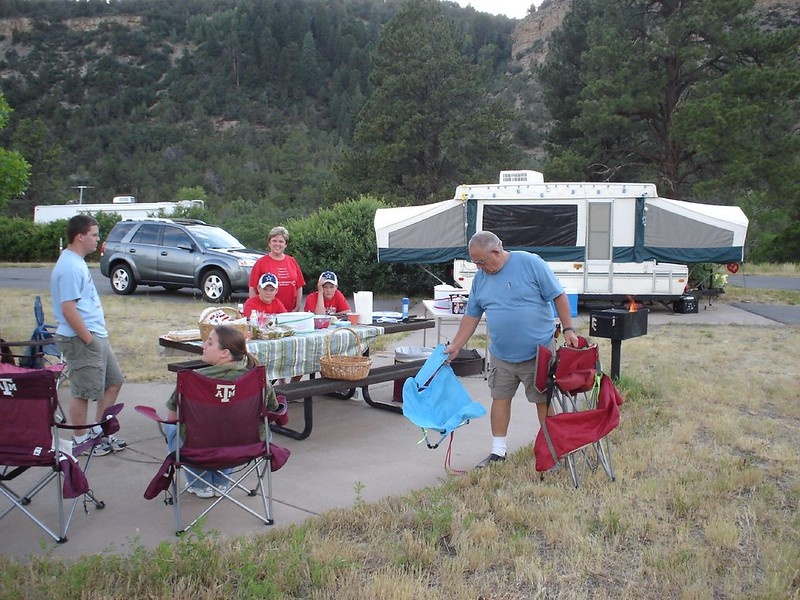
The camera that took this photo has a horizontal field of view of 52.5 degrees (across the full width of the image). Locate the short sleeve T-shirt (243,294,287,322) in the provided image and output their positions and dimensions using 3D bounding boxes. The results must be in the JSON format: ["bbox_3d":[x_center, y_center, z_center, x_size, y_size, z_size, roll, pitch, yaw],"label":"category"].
[{"bbox_3d":[-1.434,0.061,8.463,0.359,0.340,0.210,-2,0,-23],"label":"short sleeve T-shirt"}]

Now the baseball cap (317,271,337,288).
[{"bbox_3d":[-0.830,-0.247,9.188,0.204,0.227,0.348,0,5,-3],"label":"baseball cap"}]

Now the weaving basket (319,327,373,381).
[{"bbox_3d":[-0.557,0.556,8.124,0.498,0.475,0.535,-2,14,-7],"label":"weaving basket"}]

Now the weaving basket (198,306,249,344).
[{"bbox_3d":[-1.680,0.172,7.744,0.344,0.273,0.458,4,5,25],"label":"weaving basket"}]

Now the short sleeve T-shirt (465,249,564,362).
[{"bbox_3d":[1.023,0.081,7.440,0.880,1.074,0.563,-13,-5,25],"label":"short sleeve T-shirt"}]

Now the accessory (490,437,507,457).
[{"bbox_3d":[0.925,1.352,7.502,0.096,0.206,0.191,-2,-8,15],"label":"accessory"}]

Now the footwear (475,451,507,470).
[{"bbox_3d":[0.846,1.467,7.460,0.316,0.149,0.111,-8,-3,-28],"label":"footwear"}]

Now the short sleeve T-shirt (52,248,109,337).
[{"bbox_3d":[-2.943,-0.106,7.600,0.552,1.154,0.949,-2,5,-22],"label":"short sleeve T-shirt"}]

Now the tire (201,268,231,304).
[{"bbox_3d":[-3.631,-0.311,15.988,0.530,0.663,0.207,4,2,26],"label":"tire"}]

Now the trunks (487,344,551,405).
[{"bbox_3d":[1.077,0.701,7.355,0.578,0.681,0.363,2,-1,6],"label":"trunks"}]

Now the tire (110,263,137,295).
[{"bbox_3d":[-5.927,-0.491,17.275,0.448,0.542,0.172,18,11,24],"label":"tire"}]

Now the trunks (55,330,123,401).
[{"bbox_3d":[-2.819,0.595,7.509,0.453,0.838,0.616,-1,3,-2],"label":"trunks"}]

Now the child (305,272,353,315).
[{"bbox_3d":[-0.771,-0.139,9.228,0.453,0.755,0.434,-2,3,-25],"label":"child"}]
